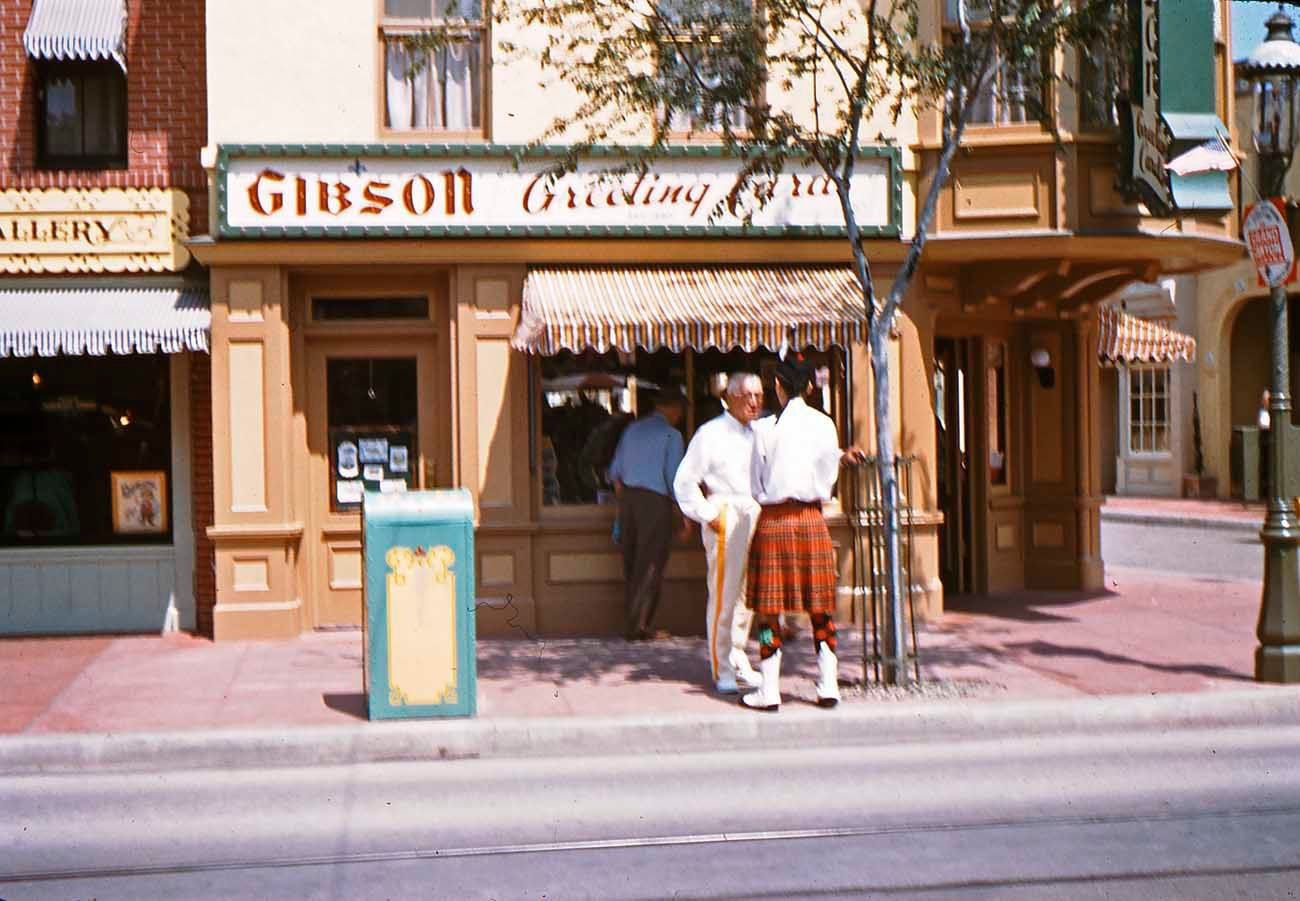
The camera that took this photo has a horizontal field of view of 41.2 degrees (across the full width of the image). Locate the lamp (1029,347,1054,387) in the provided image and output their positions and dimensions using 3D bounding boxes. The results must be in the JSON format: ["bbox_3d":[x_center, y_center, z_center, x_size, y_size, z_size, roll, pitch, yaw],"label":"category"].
[{"bbox_3d":[4.916,-1.059,21.643,0.324,0.510,0.216,3,12,14],"label":"lamp"}]

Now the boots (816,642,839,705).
[{"bbox_3d":[1.687,2.050,16.274,0.230,0.594,0.464,1,12,6],"label":"boots"}]

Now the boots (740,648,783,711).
[{"bbox_3d":[1.154,2.139,16.356,0.265,0.639,0.576,2,5,-15],"label":"boots"}]
